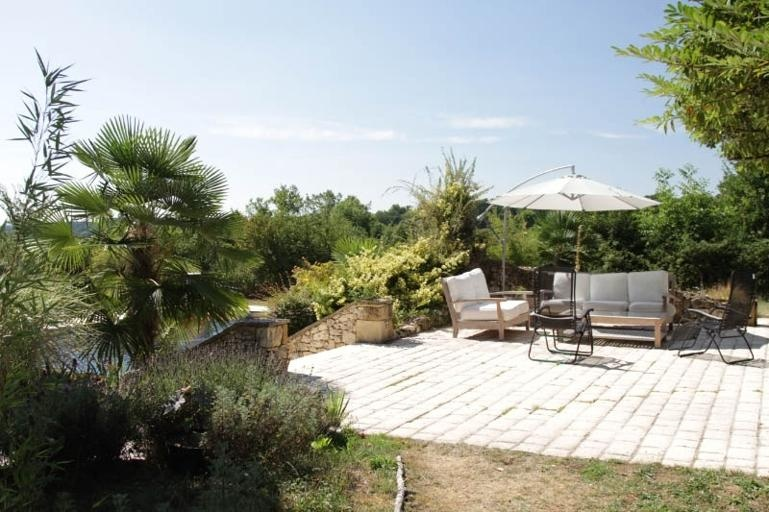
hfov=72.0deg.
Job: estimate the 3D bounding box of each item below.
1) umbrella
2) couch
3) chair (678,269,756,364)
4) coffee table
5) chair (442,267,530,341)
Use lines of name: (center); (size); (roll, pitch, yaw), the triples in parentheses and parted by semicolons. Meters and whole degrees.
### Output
umbrella: (4.093, -1.250, 11.959); (3.221, 2.269, 3.214); (0, -3, 1)
couch: (4.316, 0.803, 10.297); (2.228, 0.963, 0.884); (0, -4, 29)
chair: (5.280, 0.917, 8.434); (0.900, 1.408, 0.901); (-2, 5, -18)
coffee table: (4.755, 1.294, 10.312); (1.462, 0.577, 2.383); (1, 3, 27)
chair: (2.148, 0.935, 10.880); (1.207, 1.190, 2.052); (-3, -1, 28)
